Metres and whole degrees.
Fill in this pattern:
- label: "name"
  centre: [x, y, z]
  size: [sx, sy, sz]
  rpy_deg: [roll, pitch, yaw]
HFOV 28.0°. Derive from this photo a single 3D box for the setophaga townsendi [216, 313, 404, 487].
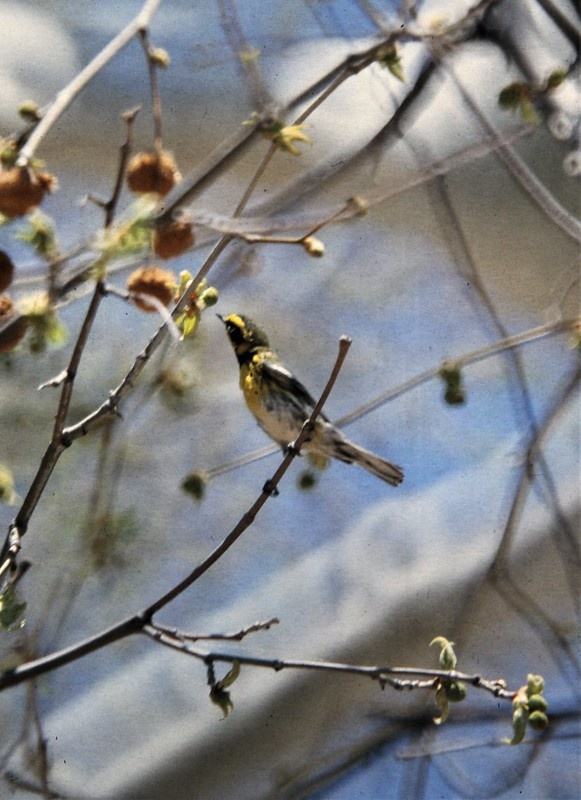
- label: "setophaga townsendi"
  centre: [0.015, 0.004, 1.235]
  size: [0.258, 0.112, 0.073]
  rpy_deg: [31, -43, -9]
